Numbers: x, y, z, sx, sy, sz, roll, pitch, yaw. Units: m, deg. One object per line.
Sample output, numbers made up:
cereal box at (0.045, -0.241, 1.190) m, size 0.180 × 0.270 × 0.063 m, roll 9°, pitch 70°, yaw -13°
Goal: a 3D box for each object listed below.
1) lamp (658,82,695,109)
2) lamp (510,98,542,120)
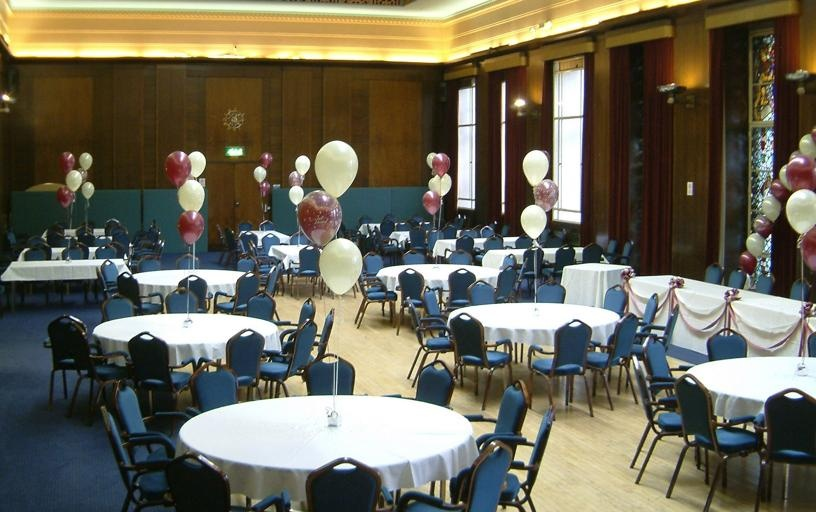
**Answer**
lamp at (5.570, -3.333, 14.529) m, size 0.655 × 0.458 × 0.455 m, roll -4°, pitch 3°, yaw -36°
lamp at (3.214, -4.038, 18.970) m, size 0.669 × 0.611 × 0.809 m, roll 0°, pitch 5°, yaw 6°
